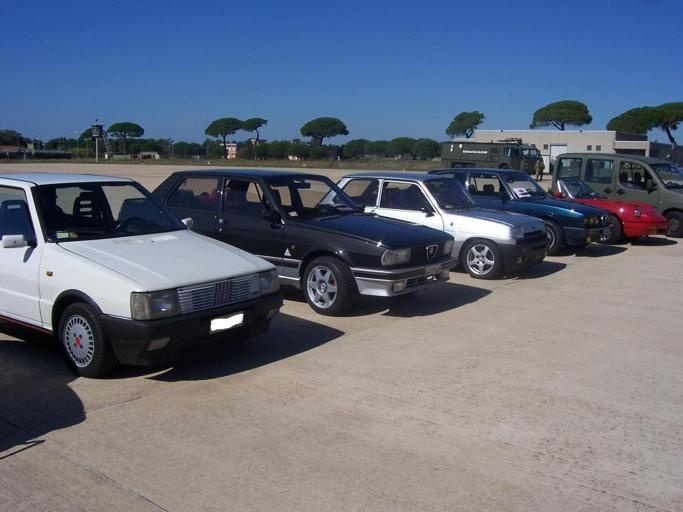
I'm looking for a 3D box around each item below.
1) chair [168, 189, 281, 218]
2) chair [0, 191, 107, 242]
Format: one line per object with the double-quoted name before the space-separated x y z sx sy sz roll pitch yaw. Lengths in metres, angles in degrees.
"chair" -2.117 -0.781 7.808 1.521 0.546 0.804 2 12 17
"chair" -3.228 -0.463 5.275 1.203 0.468 0.660 1 9 29
